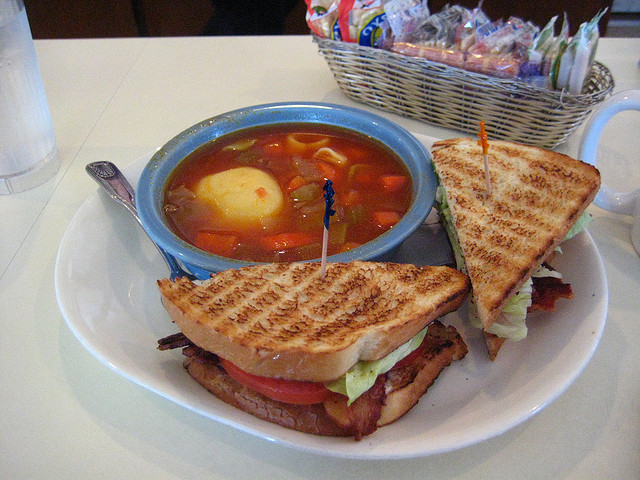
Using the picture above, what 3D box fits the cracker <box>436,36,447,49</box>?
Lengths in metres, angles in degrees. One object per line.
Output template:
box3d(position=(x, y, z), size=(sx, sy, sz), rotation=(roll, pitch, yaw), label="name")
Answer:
box3d(position=(0.780, -1.277, 3.274), size=(0.074, 0.028, 0.078), rotation=(5, 60, 27), label="cracker")

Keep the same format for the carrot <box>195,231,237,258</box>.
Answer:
box3d(position=(-0.520, 0.017, 2.522), size=(0.140, 0.033, 0.135), rotation=(5, 34, -9), label="carrot")

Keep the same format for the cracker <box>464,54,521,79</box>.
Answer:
box3d(position=(1.037, -1.039, 3.037), size=(0.147, 0.075, 0.276), rotation=(11, 3, -40), label="cracker")
